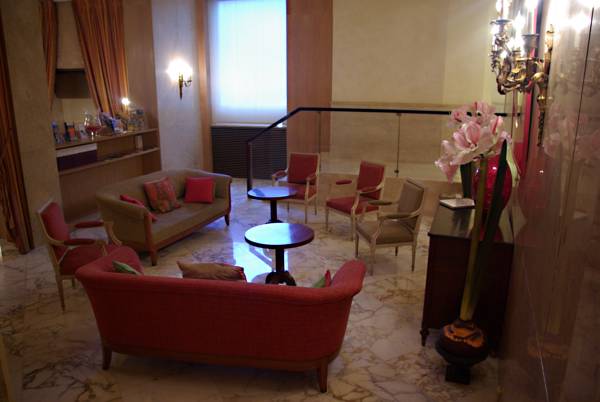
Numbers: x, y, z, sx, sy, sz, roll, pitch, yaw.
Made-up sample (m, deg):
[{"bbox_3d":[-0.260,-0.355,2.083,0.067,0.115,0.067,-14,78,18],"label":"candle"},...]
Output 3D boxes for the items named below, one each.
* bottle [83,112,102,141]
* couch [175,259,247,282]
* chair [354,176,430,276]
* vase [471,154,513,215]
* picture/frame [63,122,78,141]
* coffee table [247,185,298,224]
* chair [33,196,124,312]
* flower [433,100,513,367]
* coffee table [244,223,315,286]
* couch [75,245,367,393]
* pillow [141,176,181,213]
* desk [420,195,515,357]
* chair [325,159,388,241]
[{"bbox_3d":[-3.836,-1.414,7.983,0.296,0.462,0.584,-4,16,-3],"label":"bottle"},{"bbox_3d":[-0.914,0.719,4.444,0.628,0.213,0.214,4,-19,-3],"label":"couch"},{"bbox_3d":[1.265,0.325,6.194,0.824,1.187,0.832,-3,15,-6],"label":"chair"},{"bbox_3d":[2.085,-0.198,4.684,0.386,0.642,0.391,8,-3,3],"label":"vase"},{"bbox_3d":[-4.037,-1.226,7.631,0.220,0.314,0.154,-17,22,-39],"label":"picture/frame"},{"bbox_3d":[-0.479,0.148,7.139,0.669,0.484,0.672,5,18,22],"label":"coffee table"},{"bbox_3d":[-2.646,0.622,5.411,1.058,1.166,1.029,2,14,5],"label":"chair"},{"bbox_3d":[1.499,0.333,3.872,0.505,2.341,0.917,5,19,24],"label":"flower"},{"bbox_3d":[-0.226,0.651,5.431,0.799,0.601,0.788,-11,22,-32],"label":"coffee table"},{"bbox_3d":[-0.787,1.149,4.367,2.640,1.125,1.030,4,13,5],"label":"couch"},{"bbox_3d":[-2.173,-0.079,6.781,0.540,0.504,0.162,-19,-2,-45],"label":"pillow"},{"bbox_3d":[1.637,0.772,4.193,0.516,0.883,1.416,7,21,20],"label":"desk"},{"bbox_3d":[0.911,-0.036,7.228,0.964,1.144,0.928,-4,16,-10],"label":"chair"}]
